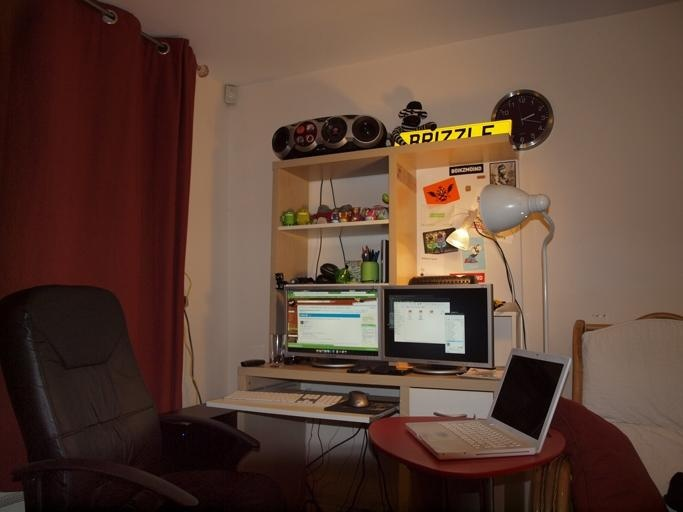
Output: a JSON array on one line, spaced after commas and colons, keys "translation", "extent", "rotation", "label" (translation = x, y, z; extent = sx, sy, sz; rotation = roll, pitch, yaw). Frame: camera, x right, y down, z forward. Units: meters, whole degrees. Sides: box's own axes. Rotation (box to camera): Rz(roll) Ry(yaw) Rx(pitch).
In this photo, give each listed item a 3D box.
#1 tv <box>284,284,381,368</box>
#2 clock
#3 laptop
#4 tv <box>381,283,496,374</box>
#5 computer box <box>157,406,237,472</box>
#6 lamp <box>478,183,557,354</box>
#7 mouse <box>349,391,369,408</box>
[{"translation": [-0.051, 0.353, 2.864], "extent": [0.557, 0.394, 0.057], "rotation": [1, 1, 19], "label": "tv"}, {"translation": [1.040, -0.776, 3.026], "extent": [0.355, 0.400, 0.076], "rotation": [-4, -7, 19], "label": "clock"}, {"translation": [0.539, 0.560, 1.919], "extent": [0.389, 0.284, 0.416], "rotation": [2, -6, -11], "label": "laptop"}, {"translation": [0.498, 0.367, 2.661], "extent": [0.396, 0.316, 0.044], "rotation": [-1, -4, 24], "label": "tv"}, {"translation": [-0.631, 0.894, 2.533], "extent": [0.193, 0.293, 0.300], "rotation": [-12, -14, -16], "label": "computer box"}, {"translation": [0.902, 0.070, 2.804], "extent": [0.384, 0.877, 0.552], "rotation": [0, 1, 19], "label": "lamp"}, {"translation": [0.081, 0.673, 2.473], "extent": [0.075, 0.056, 0.057], "rotation": [8, -13, -30], "label": "mouse"}]
